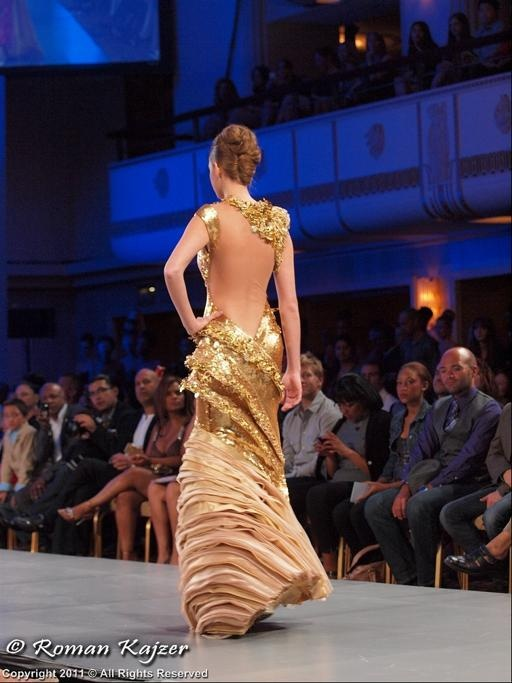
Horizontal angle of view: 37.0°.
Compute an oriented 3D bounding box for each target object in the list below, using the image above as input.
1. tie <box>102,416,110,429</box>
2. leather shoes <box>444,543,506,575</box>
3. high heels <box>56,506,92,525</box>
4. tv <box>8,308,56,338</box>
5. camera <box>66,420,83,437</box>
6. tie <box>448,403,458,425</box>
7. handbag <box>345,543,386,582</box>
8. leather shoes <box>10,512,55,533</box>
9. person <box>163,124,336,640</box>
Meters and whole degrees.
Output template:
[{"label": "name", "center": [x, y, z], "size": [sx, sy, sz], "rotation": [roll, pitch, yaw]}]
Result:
[{"label": "tie", "center": [-1.118, 0.596, 5.717], "size": [0.061, 0.068, 0.024], "rotation": [-11, -3, -29]}, {"label": "leather shoes", "center": [0.982, 1.000, 3.523], "size": [0.327, 0.110, 0.110], "rotation": [1, 3, 12]}, {"label": "high heels", "center": [-1.237, 1.147, 5.072], "size": [0.277, 0.093, 0.065], "rotation": [-2, 36, 3]}, {"label": "tv", "center": [-2.629, -0.217, 8.932], "size": [0.447, 0.228, 0.045], "rotation": [0, -2, -34]}, {"label": "camera", "center": [-1.292, 0.618, 5.452], "size": [0.094, 0.100, 0.105], "rotation": [3, -1, -9]}, {"label": "tie", "center": [1.035, 0.390, 4.053], "size": [0.053, 0.127, 0.064], "rotation": [2, -7, -25]}, {"label": "handbag", "center": [0.570, 1.183, 4.122], "size": [0.254, 0.197, 0.174], "rotation": [-5, -7, 1]}, {"label": "leather shoes", "center": [-1.617, 1.266, 5.401], "size": [0.358, 0.113, 0.133], "rotation": [7, 38, 8]}, {"label": "person", "center": [-0.044, 0.219, 2.518], "size": [0.515, 1.451, 0.421], "rotation": [0, -7, -9]}]
